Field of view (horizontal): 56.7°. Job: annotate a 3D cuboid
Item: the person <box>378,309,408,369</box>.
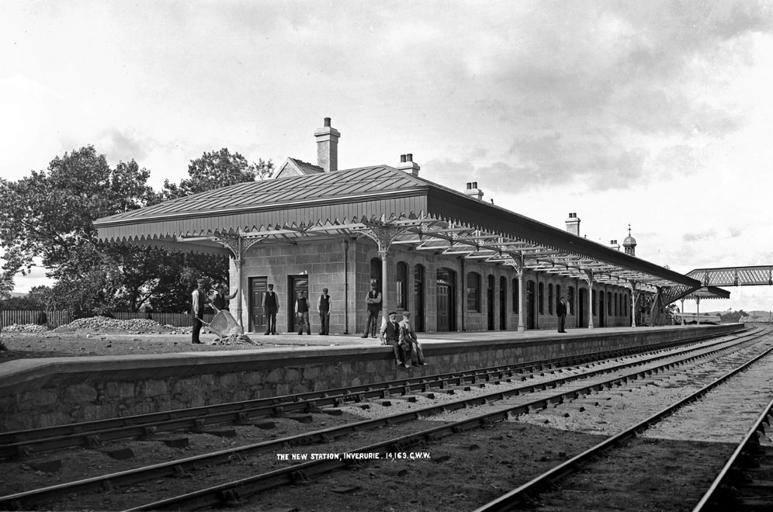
[{"bbox_3d":[0.206,2.279,19.296,0.672,1.466,0.742,-1,-4,1],"label":"person"}]
